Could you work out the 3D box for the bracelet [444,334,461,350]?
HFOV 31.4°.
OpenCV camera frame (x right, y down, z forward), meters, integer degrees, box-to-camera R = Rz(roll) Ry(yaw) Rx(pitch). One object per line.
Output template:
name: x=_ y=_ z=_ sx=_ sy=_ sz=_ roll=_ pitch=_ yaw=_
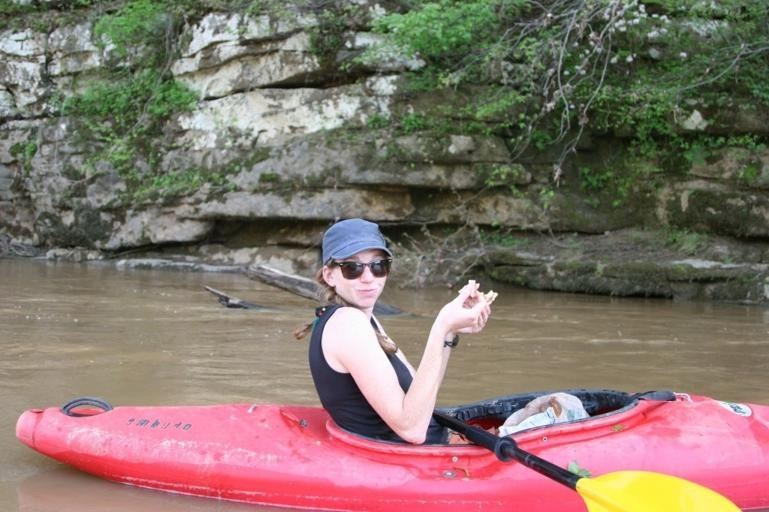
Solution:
bracelet: x=1.003 y=1.258 z=20.175 sx=0.251 sy=0.179 sz=0.114 roll=-34 pitch=-24 yaw=-19
